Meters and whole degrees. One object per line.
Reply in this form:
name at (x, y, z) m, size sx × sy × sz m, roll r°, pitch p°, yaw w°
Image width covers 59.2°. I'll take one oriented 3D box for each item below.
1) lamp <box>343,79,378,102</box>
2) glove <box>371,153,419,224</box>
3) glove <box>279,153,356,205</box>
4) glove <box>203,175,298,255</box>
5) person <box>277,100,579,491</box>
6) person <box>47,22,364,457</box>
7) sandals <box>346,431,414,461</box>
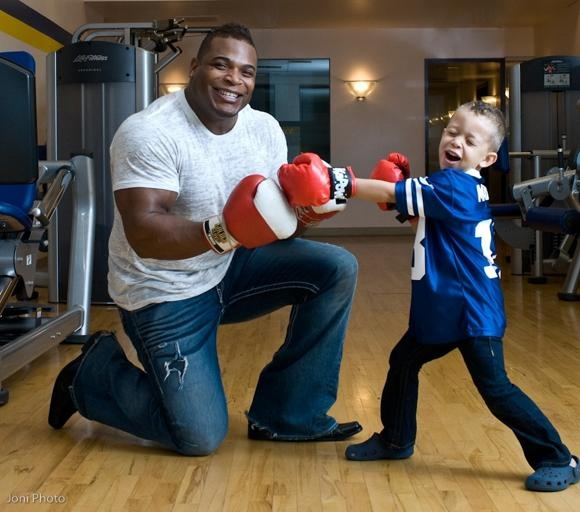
lamp at (1.025, -2.410, 7.334) m, size 0.357 × 0.196 × 0.311 m, roll -1°, pitch 7°, yaw 1°
glove at (0.323, -0.228, 1.532) m, size 0.092 × 0.145 × 0.201 m, roll 23°, pitch 9°, yaw 14°
glove at (0.074, -0.165, 1.219) m, size 0.143 × 0.067 × 0.117 m, roll -15°, pitch 5°, yaw -19°
glove at (-0.083, -0.090, 1.250) m, size 0.224 × 0.172 × 0.178 m, roll -25°, pitch -5°, yaw 12°
person at (0.357, 0.078, 1.319) m, size 0.748 × 0.950 × 0.311 m, roll 0°, pitch 5°, yaw 3°
person at (-0.219, -0.031, 1.504) m, size 0.902 × 1.175 × 0.623 m, roll -2°, pitch 3°, yaw -17°
sandals at (0.240, 0.522, 1.425) m, size 0.200 × 0.080 × 0.070 m, roll 2°, pitch -9°, yaw 1°
